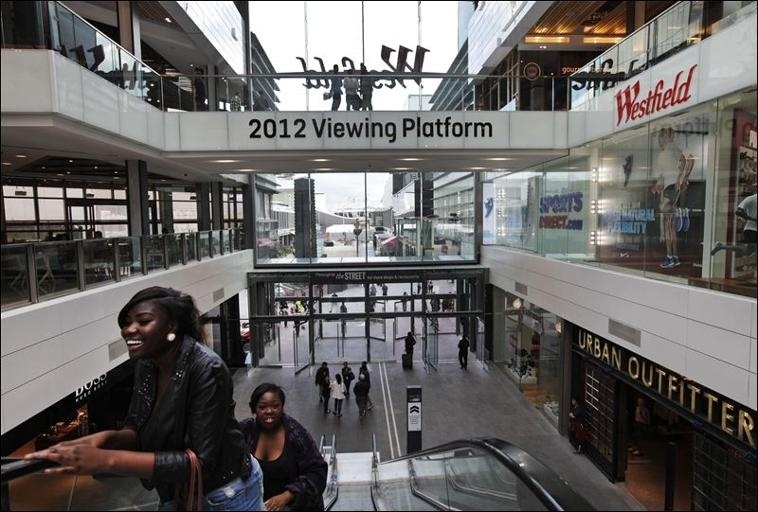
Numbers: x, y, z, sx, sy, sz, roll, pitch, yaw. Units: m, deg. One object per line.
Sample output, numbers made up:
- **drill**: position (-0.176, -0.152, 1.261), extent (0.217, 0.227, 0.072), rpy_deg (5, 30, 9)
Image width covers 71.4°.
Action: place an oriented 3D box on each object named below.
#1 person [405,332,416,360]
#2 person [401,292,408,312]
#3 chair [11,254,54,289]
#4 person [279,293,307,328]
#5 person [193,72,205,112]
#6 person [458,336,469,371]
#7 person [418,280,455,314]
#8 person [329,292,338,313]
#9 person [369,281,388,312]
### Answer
- **person**: position (1.212, 3.617, 21.025), extent (0.328, 1.166, 0.542), rpy_deg (-1, 9, 3)
- **person**: position (1.052, 1.894, 21.762), extent (0.282, 0.735, 0.174), rpy_deg (-2, 9, -7)
- **chair**: position (-6.485, 0.247, 10.037), extent (0.461, 0.710, 0.496), rpy_deg (-1, -5, -2)
- **person**: position (-3.599, 2.167, 21.071), extent (1.315, 1.215, 0.305), rpy_deg (-2, -8, 13)
- **person**: position (-5.275, -4.759, 15.497), extent (0.356, 1.048, 0.570), rpy_deg (-4, 9, -19)
- **person**: position (3.307, 3.729, 20.672), extent (0.328, 1.327, 0.581), rpy_deg (0, 9, 5)
- **person**: position (2.331, 1.630, 21.715), extent (1.692, 1.262, 0.685), rpy_deg (0, 9, 4)
- **person**: position (-1.865, 1.899, 21.698), extent (0.345, 0.737, 0.206), rpy_deg (-2, 9, -5)
- **person**: position (-0.087, 1.727, 21.656), extent (1.075, 1.022, 0.265), rpy_deg (3, 2, 7)
